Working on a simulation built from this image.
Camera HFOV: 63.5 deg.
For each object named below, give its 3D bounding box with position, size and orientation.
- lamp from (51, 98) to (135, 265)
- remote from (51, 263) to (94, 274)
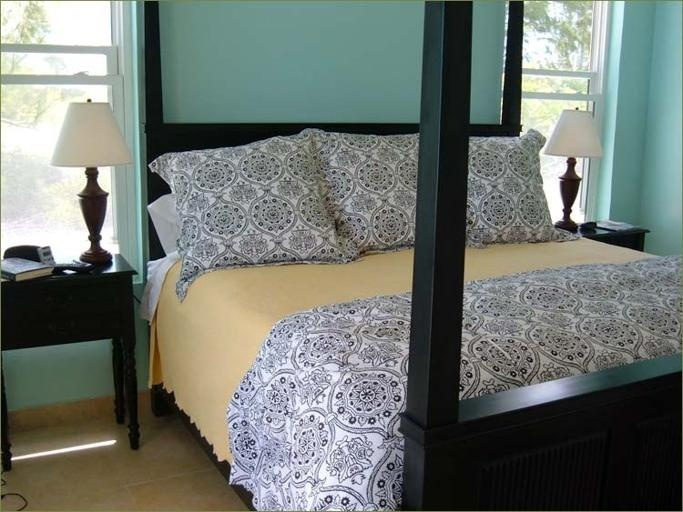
[{"bbox_3d":[-1.142,-0.339,2.551,0.331,0.739,0.225,-9,17,-26],"label":"lamp"},{"bbox_3d":[-1.184,0.052,2.435,0.114,0.042,0.063,1,14,-15],"label":"remote"}]
